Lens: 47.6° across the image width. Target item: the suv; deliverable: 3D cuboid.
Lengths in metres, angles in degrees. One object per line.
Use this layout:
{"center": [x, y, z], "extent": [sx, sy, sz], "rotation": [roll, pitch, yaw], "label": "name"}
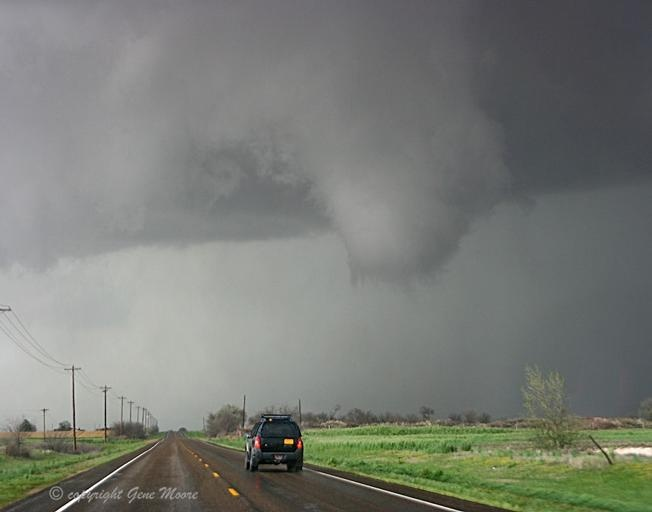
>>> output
{"center": [-2.821, 9.925, 39.651], "extent": [3.592, 3.378, 2.264], "rotation": [-18, -25, 35], "label": "suv"}
